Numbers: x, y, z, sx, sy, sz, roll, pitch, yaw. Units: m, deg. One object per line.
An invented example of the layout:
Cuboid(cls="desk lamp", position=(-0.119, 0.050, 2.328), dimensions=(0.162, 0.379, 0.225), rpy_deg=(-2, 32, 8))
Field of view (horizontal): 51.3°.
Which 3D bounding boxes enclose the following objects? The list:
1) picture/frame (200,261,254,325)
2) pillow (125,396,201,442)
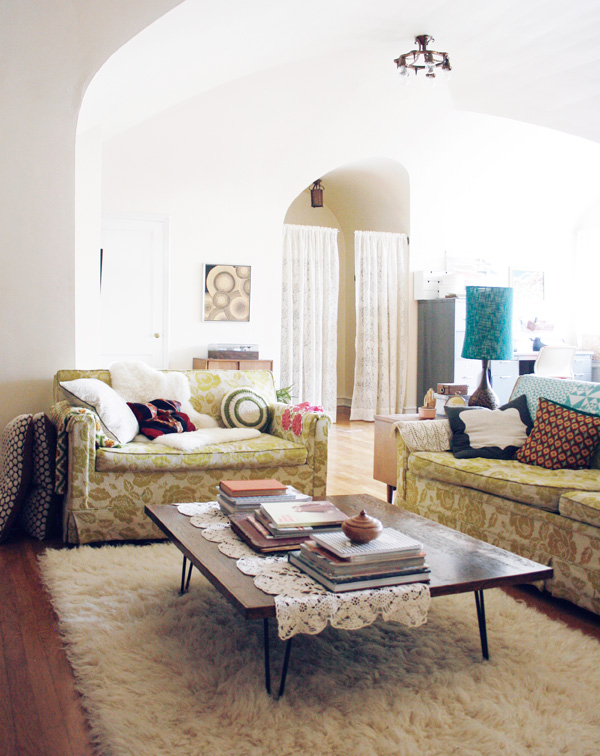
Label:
Cuboid(cls="picture/frame", position=(-0.786, -0.899, 6.523), dimensions=(0.673, 0.773, 0.057), rpy_deg=(0, 2, -21))
Cuboid(cls="pillow", position=(-0.713, 0.205, 3.246), dimensions=(0.227, 0.081, 0.227), rpy_deg=(-3, 33, -45))
